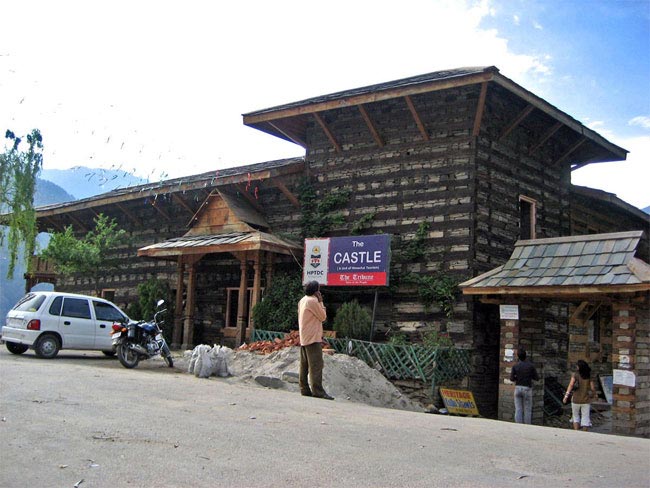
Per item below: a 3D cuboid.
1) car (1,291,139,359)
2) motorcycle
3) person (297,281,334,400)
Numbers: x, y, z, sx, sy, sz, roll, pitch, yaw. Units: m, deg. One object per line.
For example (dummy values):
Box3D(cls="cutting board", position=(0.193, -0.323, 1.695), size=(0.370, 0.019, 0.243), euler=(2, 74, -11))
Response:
Box3D(cls="car", position=(-7.252, 2.235, 14.594), size=(1.929, 1.407, 3.386), euler=(-4, -6, 44))
Box3D(cls="motorcycle", position=(-5.002, 2.499, 13.880), size=(1.302, 1.709, 2.682), euler=(-13, -14, 5))
Box3D(cls="person", position=(-0.219, 1.929, 10.300), size=(0.709, 2.355, 1.081), euler=(5, -13, 1))
